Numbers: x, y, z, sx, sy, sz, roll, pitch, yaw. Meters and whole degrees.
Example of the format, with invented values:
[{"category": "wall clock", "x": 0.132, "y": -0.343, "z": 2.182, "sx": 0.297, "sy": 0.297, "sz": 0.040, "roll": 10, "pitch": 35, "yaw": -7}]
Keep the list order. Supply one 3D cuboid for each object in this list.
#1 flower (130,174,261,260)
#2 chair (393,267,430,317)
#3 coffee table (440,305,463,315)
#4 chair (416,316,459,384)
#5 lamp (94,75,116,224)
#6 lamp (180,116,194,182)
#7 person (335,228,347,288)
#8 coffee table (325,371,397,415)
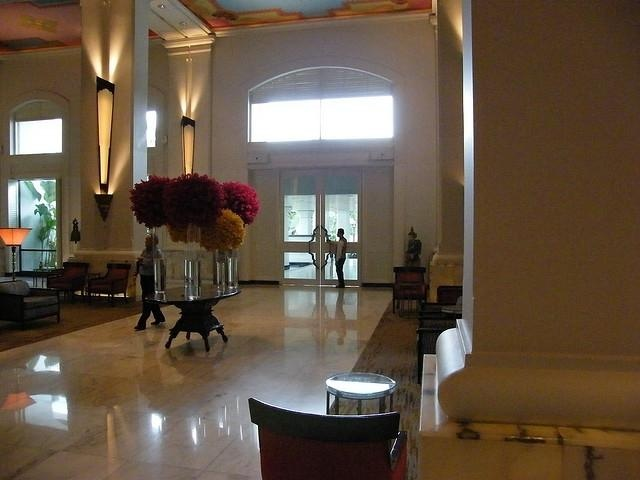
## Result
[{"category": "flower", "x": -1.440, "y": -0.341, "z": 6.297, "sx": 1.016, "sy": 0.670, "sz": 1.138, "roll": 3, "pitch": 2, "yaw": 6}, {"category": "chair", "x": 1.693, "y": 0.970, "z": 9.694, "sx": 0.743, "sy": 1.106, "sz": 0.848, "roll": 0, "pitch": -3, "yaw": 7}, {"category": "coffee table", "x": 1.515, "y": 0.811, "z": 5.951, "sx": 0.183, "sy": 0.111, "sz": 0.554, "roll": 0, "pitch": 2, "yaw": 6}, {"category": "chair", "x": 1.199, "y": 1.138, "z": 5.276, "sx": 0.385, "sy": 0.585, "sz": 1.110, "roll": 0, "pitch": 2, "yaw": 15}, {"category": "lamp", "x": -4.753, "y": -1.964, "z": 11.200, "sx": 0.446, "sy": 3.080, "sz": 0.300, "roll": 1, "pitch": 2, "yaw": 19}, {"category": "lamp", "x": -3.726, "y": -2.714, "z": 14.506, "sx": 0.400, "sy": 1.591, "sz": 0.433, "roll": 0, "pitch": 2, "yaw": -15}, {"category": "person", "x": 0.566, "y": 0.479, "z": 13.932, "sx": 0.308, "sy": 1.597, "sz": 0.490, "roll": 0, "pitch": 2, "yaw": 3}, {"category": "coffee table", "x": 0.280, "y": 1.126, "z": 3.474, "sx": 0.402, "sy": 0.322, "sz": 0.414, "roll": 0, "pitch": 1, "yaw": 0}]
